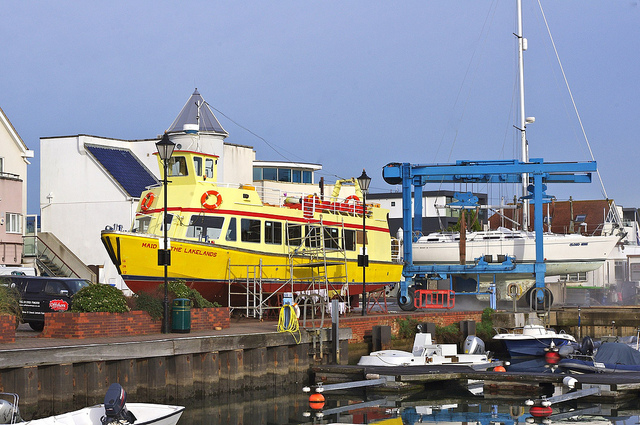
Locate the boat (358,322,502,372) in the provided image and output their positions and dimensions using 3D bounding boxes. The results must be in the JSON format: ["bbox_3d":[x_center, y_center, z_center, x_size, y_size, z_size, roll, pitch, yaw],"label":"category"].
[{"bbox_3d":[5.337,6.480,68.533,6.782,2.372,4.556,2,-5,-19],"label":"boat"}]

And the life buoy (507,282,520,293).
[{"bbox_3d":[11.039,4.374,81.985,0.602,0.591,0.197,0,-3,25],"label":"life buoy"}]

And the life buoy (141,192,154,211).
[{"bbox_3d":[-8.676,-0.395,71.884,0.908,0.879,0.111,-7,-10,39],"label":"life buoy"}]

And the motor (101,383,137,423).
[{"bbox_3d":[-8.137,7.611,57.537,1.292,1.496,0.673,0,-8,-8],"label":"motor"}]

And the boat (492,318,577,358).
[{"bbox_3d":[10.683,6.269,71.237,4.246,1.953,2.809,0,-3,-16],"label":"boat"}]
